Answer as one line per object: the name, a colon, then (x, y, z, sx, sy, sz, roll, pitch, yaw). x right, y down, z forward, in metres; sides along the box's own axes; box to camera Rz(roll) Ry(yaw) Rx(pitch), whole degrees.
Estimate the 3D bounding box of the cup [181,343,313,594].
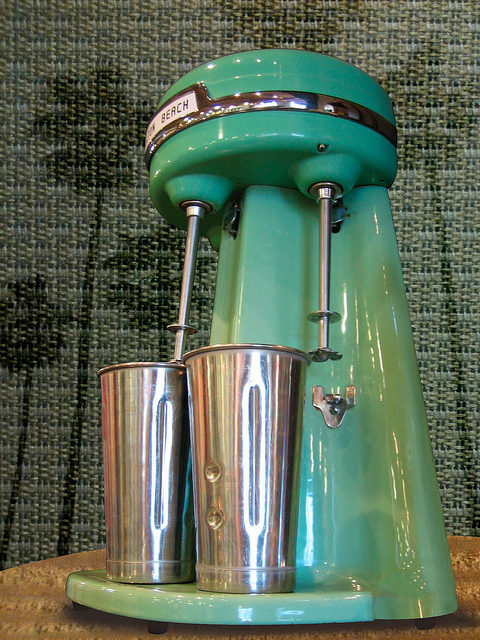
cup: (0.013, 0.101, 0.693, 0.107, 0.171, 0.083, 6, -17, -19)
